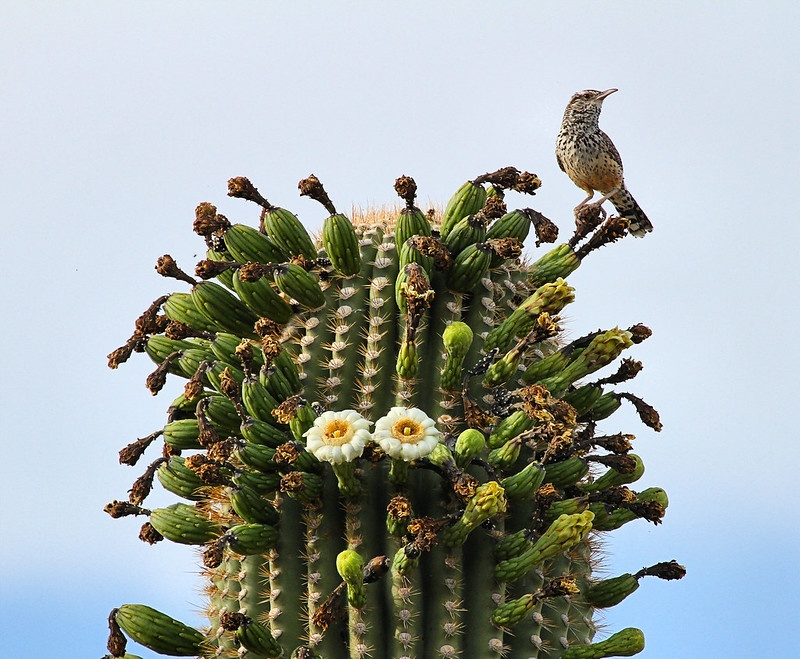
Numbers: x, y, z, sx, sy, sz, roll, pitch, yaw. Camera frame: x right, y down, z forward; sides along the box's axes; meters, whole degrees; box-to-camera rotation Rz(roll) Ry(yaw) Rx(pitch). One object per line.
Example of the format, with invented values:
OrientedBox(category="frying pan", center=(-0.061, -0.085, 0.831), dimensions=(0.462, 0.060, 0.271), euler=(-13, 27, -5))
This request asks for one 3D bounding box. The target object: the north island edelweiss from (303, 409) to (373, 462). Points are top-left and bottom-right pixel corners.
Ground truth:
OrientedBox(category="north island edelweiss", center=(-0.339, 0.573, 9.896), dimensions=(0.341, 0.334, 0.138), euler=(-13, -50, 0))

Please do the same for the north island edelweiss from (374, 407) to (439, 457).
OrientedBox(category="north island edelweiss", center=(0.026, 0.566, 9.922), dimensions=(0.353, 0.311, 0.162), euler=(-6, -40, 0))
